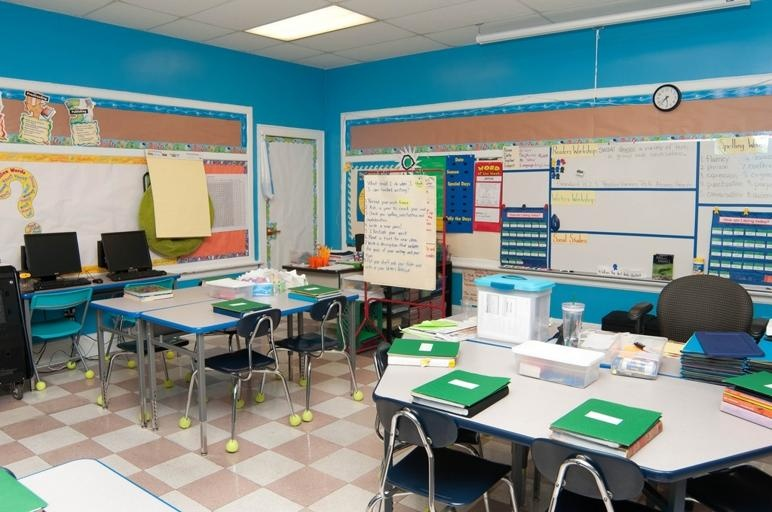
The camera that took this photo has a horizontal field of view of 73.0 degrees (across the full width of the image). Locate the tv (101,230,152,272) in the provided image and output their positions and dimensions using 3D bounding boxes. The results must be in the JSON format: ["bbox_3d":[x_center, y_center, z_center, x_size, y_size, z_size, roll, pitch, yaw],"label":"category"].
[{"bbox_3d":[-3.095,-0.034,6.322,0.617,0.518,0.502,-8,-2,-45],"label":"tv"}]

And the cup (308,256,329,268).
[{"bbox_3d":[-0.850,0.083,6.596,0.202,0.089,0.139,-1,3,-18],"label":"cup"}]

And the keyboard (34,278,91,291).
[{"bbox_3d":[-3.471,0.293,5.589,0.502,0.072,0.489,-4,6,-31],"label":"keyboard"}]

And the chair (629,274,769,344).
[{"bbox_3d":[2.842,0.455,4.889,0.905,0.970,0.755,0,-2,27],"label":"chair"}]

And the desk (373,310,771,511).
[{"bbox_3d":[1.378,0.926,3.025,1.915,0.410,0.958,2,4,38],"label":"desk"}]

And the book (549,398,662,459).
[{"bbox_3d":[1.196,0.913,2.821,0.330,0.071,0.329,1,7,41],"label":"book"}]

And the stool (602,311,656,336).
[{"bbox_3d":[2.652,0.733,5.682,0.486,0.271,0.459,1,5,25],"label":"stool"}]

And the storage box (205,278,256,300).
[{"bbox_3d":[-1.577,0.326,5.177,0.332,0.095,0.243,4,4,35],"label":"storage box"}]

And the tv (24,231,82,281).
[{"bbox_3d":[-3.666,0.009,5.680,0.577,0.509,0.242,-3,-6,-44],"label":"tv"}]

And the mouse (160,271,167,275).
[{"bbox_3d":[-2.661,0.200,6.206,0.076,0.041,0.049,2,5,12],"label":"mouse"}]

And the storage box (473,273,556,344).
[{"bbox_3d":[0.940,0.319,4.099,0.762,0.575,0.524,4,8,43],"label":"storage box"}]

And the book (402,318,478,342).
[{"bbox_3d":[0.449,0.600,4.168,0.387,0.055,0.399,1,5,35],"label":"book"}]

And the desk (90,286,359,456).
[{"bbox_3d":[-1.806,0.662,4.936,1.593,0.901,2.053,4,6,36],"label":"desk"}]
